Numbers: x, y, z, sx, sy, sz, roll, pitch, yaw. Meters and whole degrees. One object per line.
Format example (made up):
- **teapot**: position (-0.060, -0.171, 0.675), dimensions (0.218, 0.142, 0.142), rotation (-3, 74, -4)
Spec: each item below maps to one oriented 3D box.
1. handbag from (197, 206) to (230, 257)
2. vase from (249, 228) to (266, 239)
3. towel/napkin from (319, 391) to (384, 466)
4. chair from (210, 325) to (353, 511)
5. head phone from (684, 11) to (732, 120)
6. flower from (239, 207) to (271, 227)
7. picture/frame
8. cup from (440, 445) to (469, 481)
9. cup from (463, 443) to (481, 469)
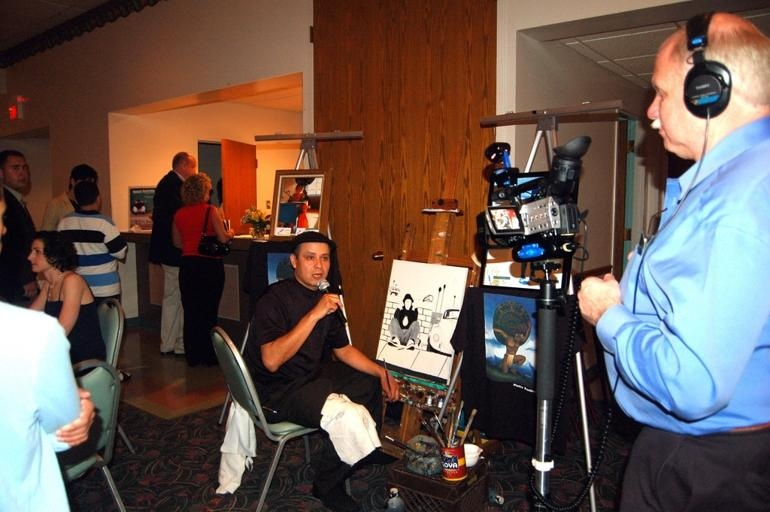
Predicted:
- **handbag**: position (-1.717, -0.230, 5.703), dimensions (0.318, 0.492, 0.163), rotation (-3, 7, -27)
- **vase**: position (-1.259, -0.214, 5.628), dimensions (0.138, 0.103, 0.142), rotation (1, -8, -3)
- **towel/napkin**: position (-0.229, 1.023, 3.318), dimensions (0.310, 0.392, 0.137), rotation (-38, -3, -32)
- **chair**: position (-0.759, 0.971, 3.424), dimensions (0.501, 1.147, 0.611), rotation (-4, 7, -34)
- **head phone**: position (1.144, -0.666, 1.997), dimensions (0.131, 0.316, 0.338), rotation (-2, 8, 33)
- **flower**: position (-1.305, -0.386, 5.784), dimensions (0.361, 0.222, 0.364), rotation (5, 2, 44)
- **picture/frame**: position (-0.702, -0.432, 4.799), dimensions (0.643, 0.746, 0.051), rotation (-1, -8, 21)
- **cup**: position (0.395, 1.161, 3.197), dimensions (0.159, 0.178, 0.163), rotation (-1, -6, 0)
- **cup**: position (0.524, 1.174, 3.325), dimensions (0.108, 0.059, 0.124), rotation (-2, -7, 9)
